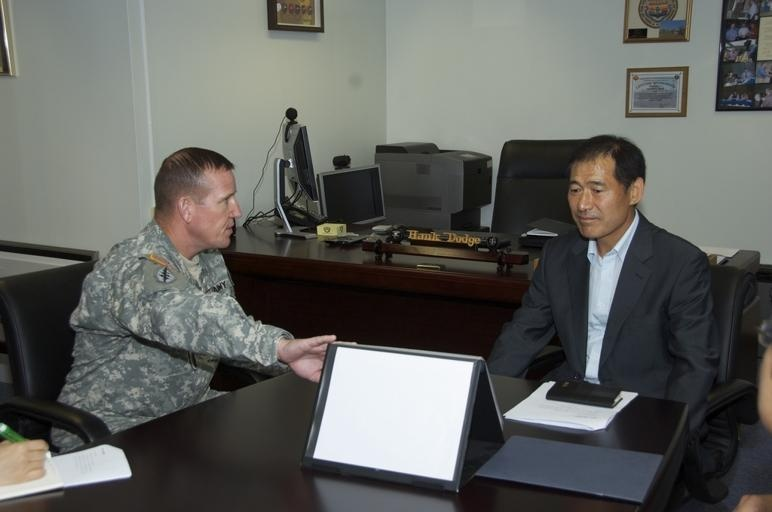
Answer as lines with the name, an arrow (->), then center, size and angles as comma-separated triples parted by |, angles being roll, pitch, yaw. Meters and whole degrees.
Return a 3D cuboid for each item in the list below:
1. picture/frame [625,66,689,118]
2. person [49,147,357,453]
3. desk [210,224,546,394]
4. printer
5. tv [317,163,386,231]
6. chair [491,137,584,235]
picture/frame -> 2.168, -1.323, 4.641 | 0.444, 0.398, 0.024 | 3, -5, 13
person -> -0.576, -0.036, 2.434 | 1.218, 1.627, 0.841 | 2, 28, -3
desk -> -0.092, 0.456, 3.136 | 1.501, 0.940, 0.843 | 7, 8, 0
printer -> 0.384, -0.535, 4.617 | 0.824, 0.671, 0.659 | 12, 18, 38
tv -> -0.235, -0.384, 3.892 | 0.054, 0.364, 0.511 | -1, 7, 44
chair -> 1.095, -0.509, 4.237 | 0.586, 0.851, 0.706 | 3, 6, 20
